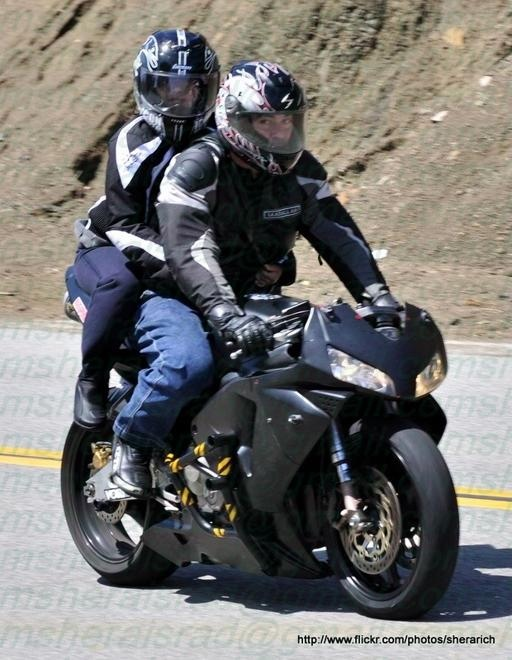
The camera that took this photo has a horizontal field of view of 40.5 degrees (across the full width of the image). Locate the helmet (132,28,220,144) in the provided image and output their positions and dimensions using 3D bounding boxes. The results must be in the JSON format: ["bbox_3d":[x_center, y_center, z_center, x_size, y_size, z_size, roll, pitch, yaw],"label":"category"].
[{"bbox_3d":[-0.392,-1.326,3.672,0.476,0.457,0.499,-3,40,-10],"label":"helmet"}]

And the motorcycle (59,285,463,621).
[{"bbox_3d":[-0.007,0.575,2.976,2.340,0.769,1.096,-16,58,53],"label":"motorcycle"}]
